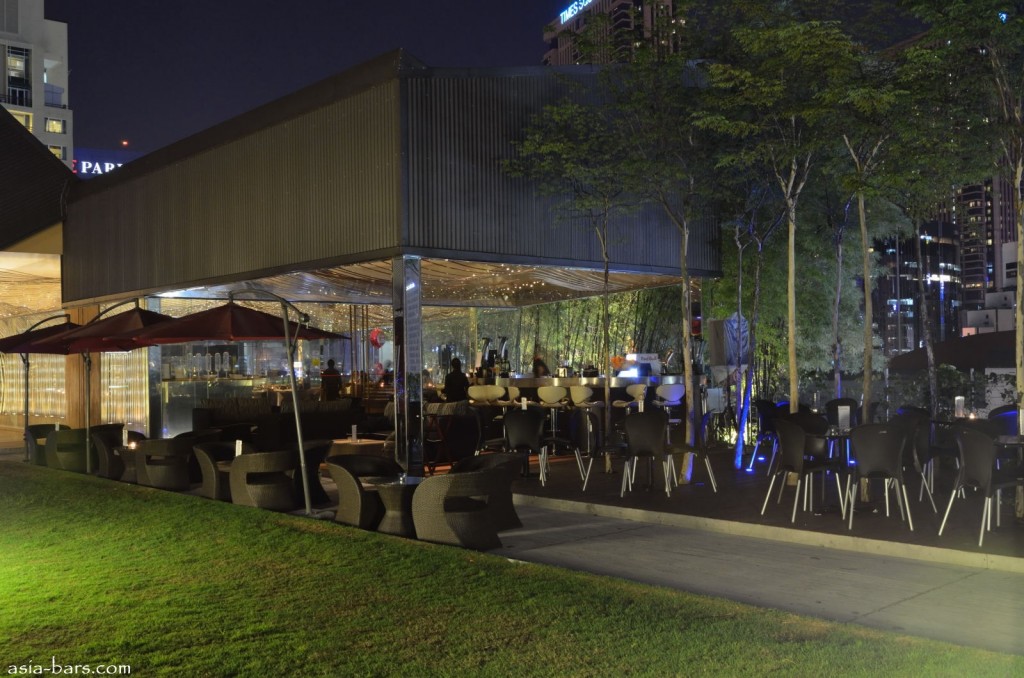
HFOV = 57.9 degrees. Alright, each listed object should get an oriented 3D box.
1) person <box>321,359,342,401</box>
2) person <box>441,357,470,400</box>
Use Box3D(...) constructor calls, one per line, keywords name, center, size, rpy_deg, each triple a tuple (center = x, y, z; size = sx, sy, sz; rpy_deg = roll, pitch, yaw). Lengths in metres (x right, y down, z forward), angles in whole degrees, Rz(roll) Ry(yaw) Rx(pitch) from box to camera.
Box3D(name="person", center=(-4.913, 1.058, 25.472), size=(0.523, 1.096, 2.036), rpy_deg=(1, -4, -11))
Box3D(name="person", center=(-1.208, 0.891, 20.477), size=(0.492, 0.956, 0.967), rpy_deg=(1, -4, -7))
